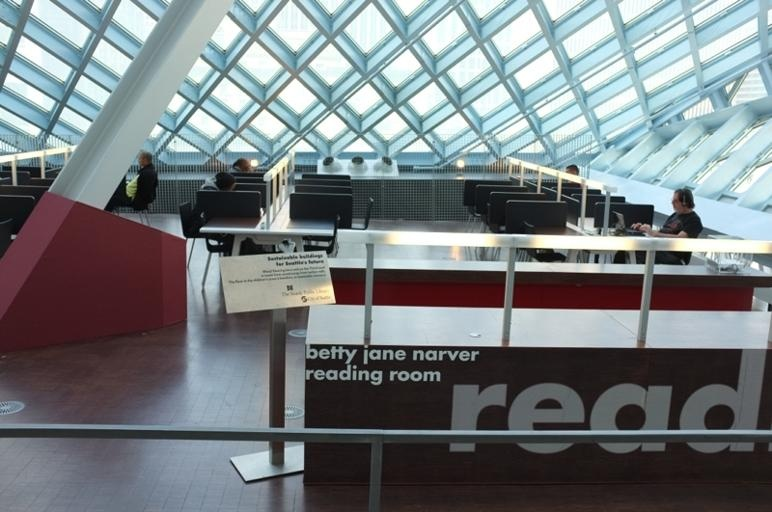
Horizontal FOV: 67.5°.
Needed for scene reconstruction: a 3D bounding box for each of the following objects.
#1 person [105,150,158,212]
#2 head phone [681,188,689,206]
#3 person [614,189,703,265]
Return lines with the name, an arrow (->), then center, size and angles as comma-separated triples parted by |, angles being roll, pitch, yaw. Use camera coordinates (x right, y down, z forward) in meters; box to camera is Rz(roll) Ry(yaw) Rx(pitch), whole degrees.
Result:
person -> -4.466, -1.312, 10.197 | 0.654, 1.075, 1.428 | 11, -14, -31
head phone -> 3.880, -0.770, 7.431 | 0.135, 0.146, 0.185 | -1, -13, 32
person -> 3.604, -0.359, 7.537 | 0.869, 1.091, 1.056 | -6, -15, 36
